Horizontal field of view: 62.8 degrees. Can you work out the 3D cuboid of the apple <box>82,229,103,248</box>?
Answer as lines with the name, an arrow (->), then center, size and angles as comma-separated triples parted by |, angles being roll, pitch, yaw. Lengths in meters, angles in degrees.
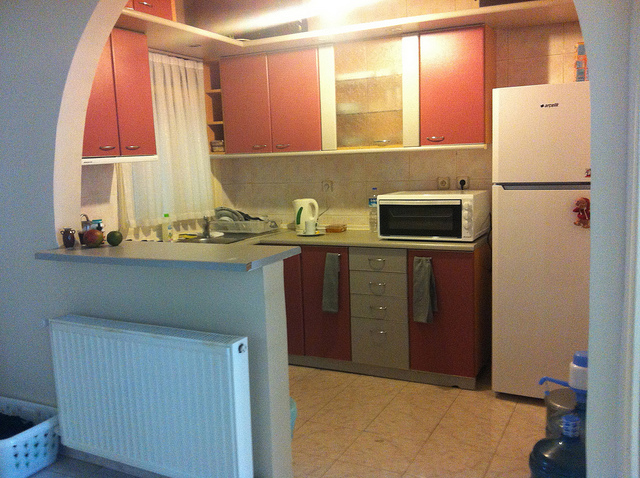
apple -> -1.263, -0.011, 2.903 | 0.098, 0.097, 0.094 | 0, 9, -16

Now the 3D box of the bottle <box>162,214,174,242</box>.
bottle -> -1.251, -0.097, 4.259 | 0.087, 0.223, 0.233 | -6, 13, -15

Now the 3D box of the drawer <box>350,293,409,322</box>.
drawer -> 0.546, 0.552, 4.081 | 0.458, 0.209, 0.369 | 2, -8, 33

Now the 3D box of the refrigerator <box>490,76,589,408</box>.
refrigerator -> 1.430, 0.045, 3.410 | 0.599, 2.040, 0.303 | 1, 13, 16

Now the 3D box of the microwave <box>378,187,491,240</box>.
microwave -> 0.891, -0.124, 3.954 | 0.577, 0.284, 0.427 | 2, 6, 28

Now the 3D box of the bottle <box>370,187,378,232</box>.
bottle -> 0.458, -0.259, 4.451 | 0.071, 0.350, 0.240 | -1, 13, 6

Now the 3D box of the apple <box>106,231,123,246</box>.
apple -> -1.159, -0.008, 2.967 | 0.075, 0.080, 0.080 | 8, 3, 20

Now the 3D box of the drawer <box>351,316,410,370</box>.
drawer -> 0.463, 0.787, 3.985 | 0.373, 0.291, 0.391 | 1, 2, 27
